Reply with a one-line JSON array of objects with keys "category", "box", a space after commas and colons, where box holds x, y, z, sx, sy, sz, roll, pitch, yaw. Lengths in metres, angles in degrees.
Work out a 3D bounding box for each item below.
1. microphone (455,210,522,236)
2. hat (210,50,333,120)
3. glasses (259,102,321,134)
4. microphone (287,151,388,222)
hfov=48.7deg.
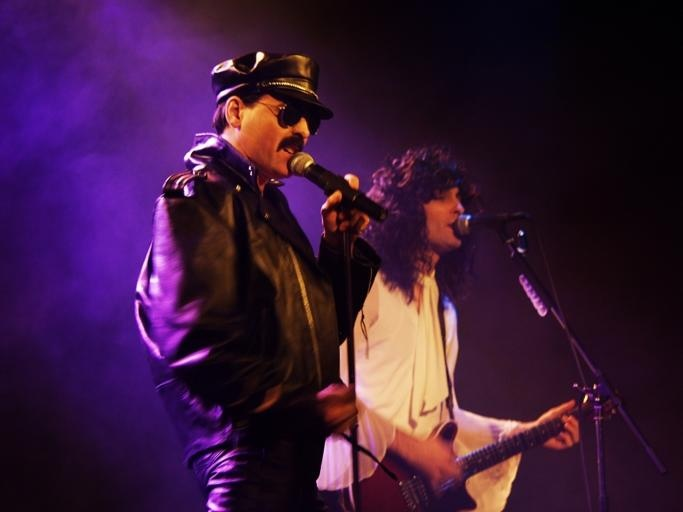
[{"category": "microphone", "box": [0.755, -0.206, 3.969, 0.364, 0.157, 0.138, -5, 2, 33]}, {"category": "hat", "box": [-0.319, -0.697, 3.170, 0.337, 0.171, 0.304, 14, 3, 12]}, {"category": "glasses", "box": [-0.188, -0.606, 3.141, 0.167, 0.070, 0.132, 28, 8, 40]}, {"category": "microphone", "box": [-0.043, -0.343, 3.440, 0.477, 0.137, 0.133, 40, 23, 21]}]
